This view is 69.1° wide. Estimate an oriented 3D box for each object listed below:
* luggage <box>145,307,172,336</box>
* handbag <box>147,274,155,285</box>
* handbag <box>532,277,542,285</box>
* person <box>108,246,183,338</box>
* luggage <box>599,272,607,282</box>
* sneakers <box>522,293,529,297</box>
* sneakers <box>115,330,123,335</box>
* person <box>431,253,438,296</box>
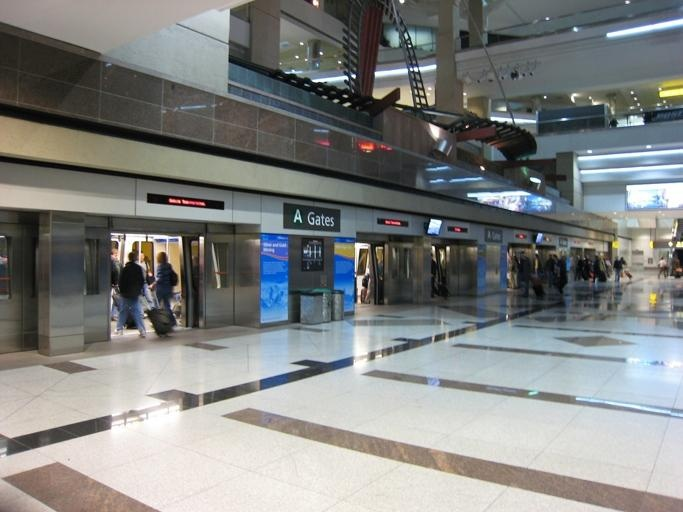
[{"bbox_3d":[-3.900,1.389,10.621,0.359,0.611,0.348,-12,36,0],"label":"luggage"},{"bbox_3d":[-4.727,0.571,12.280,0.150,0.286,0.163,4,19,6],"label":"handbag"},{"bbox_3d":[7.652,0.940,19.425,0.257,0.252,0.262,2,-2,-1],"label":"handbag"},{"bbox_3d":[-4.216,0.793,10.720,1.292,1.861,1.104,-1,7,-20],"label":"person"},{"bbox_3d":[16.819,1.312,31.895,0.531,0.827,0.520,6,11,27],"label":"luggage"},{"bbox_3d":[7.870,1.635,21.119,0.166,0.119,0.175,-1,-1,20],"label":"sneakers"},{"bbox_3d":[-4.861,1.669,10.843,0.112,0.176,0.192,3,-1,-31],"label":"sneakers"},{"bbox_3d":[3.797,0.796,20.163,0.224,1.478,0.981,2,6,10],"label":"person"}]
